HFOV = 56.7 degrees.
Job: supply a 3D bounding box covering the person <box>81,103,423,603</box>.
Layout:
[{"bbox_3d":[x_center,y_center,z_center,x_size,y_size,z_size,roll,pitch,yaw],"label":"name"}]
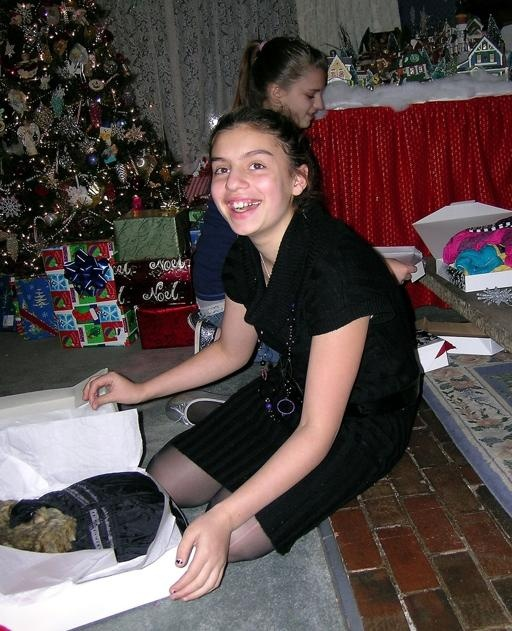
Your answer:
[{"bbox_3d":[0.081,-0.053,1.300,0.973,1.127,0.714,-7,15,-24],"label":"person"}]
